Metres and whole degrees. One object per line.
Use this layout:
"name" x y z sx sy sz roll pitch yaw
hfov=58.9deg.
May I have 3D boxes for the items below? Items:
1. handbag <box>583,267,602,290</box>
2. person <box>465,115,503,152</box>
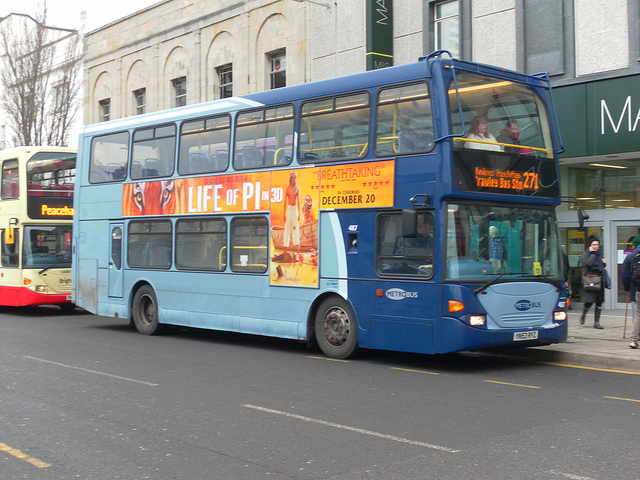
"handbag" 6.635 0.977 14.043 0.642 0.561 0.345 -2 -14 28
"person" 2.744 -1.815 9.705 0.471 0.694 0.850 11 21 44
